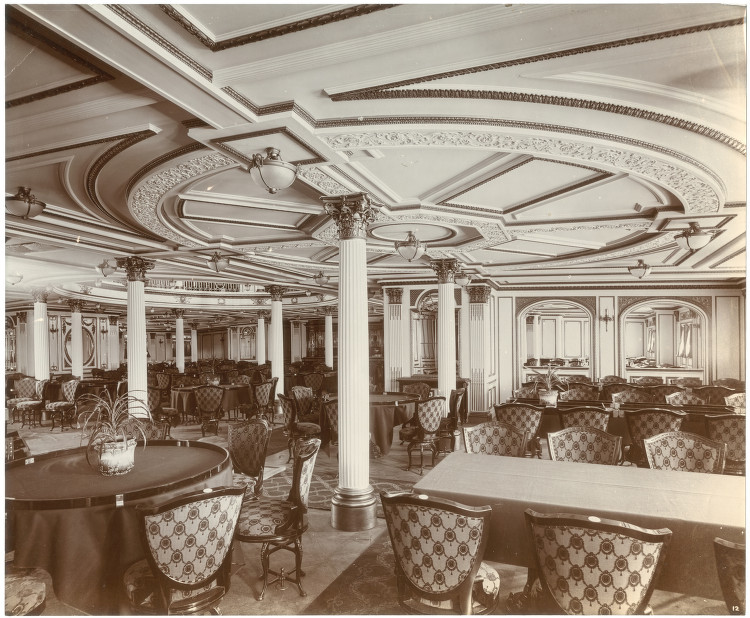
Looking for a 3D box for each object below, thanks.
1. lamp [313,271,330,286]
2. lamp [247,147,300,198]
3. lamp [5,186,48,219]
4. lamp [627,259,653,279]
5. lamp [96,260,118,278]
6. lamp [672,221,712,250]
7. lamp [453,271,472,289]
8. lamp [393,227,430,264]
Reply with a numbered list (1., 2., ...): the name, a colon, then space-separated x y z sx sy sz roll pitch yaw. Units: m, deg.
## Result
1. lamp: -1.196 -0.679 12.295 0.379 0.313 0.369 -1 3 -3
2. lamp: -0.884 -1.212 4.880 0.370 0.323 0.341 10 -7 -37
3. lamp: -4.022 -1.205 6.339 0.441 0.376 0.493 -1 3 -11
4. lamp: 5.602 -0.875 11.704 0.461 0.428 0.452 3 -5 -2
5. lamp: -5.438 -0.835 11.172 0.382 0.328 0.379 2 -4 3
6. lamp: 4.598 -1.036 7.975 0.525 0.445 0.512 -3 4 -23
7. lamp: 1.825 -0.559 11.472 0.465 0.337 0.401 2 10 8
8. lamp: 0.524 -0.929 7.793 0.602 0.560 0.586 0 4 0
